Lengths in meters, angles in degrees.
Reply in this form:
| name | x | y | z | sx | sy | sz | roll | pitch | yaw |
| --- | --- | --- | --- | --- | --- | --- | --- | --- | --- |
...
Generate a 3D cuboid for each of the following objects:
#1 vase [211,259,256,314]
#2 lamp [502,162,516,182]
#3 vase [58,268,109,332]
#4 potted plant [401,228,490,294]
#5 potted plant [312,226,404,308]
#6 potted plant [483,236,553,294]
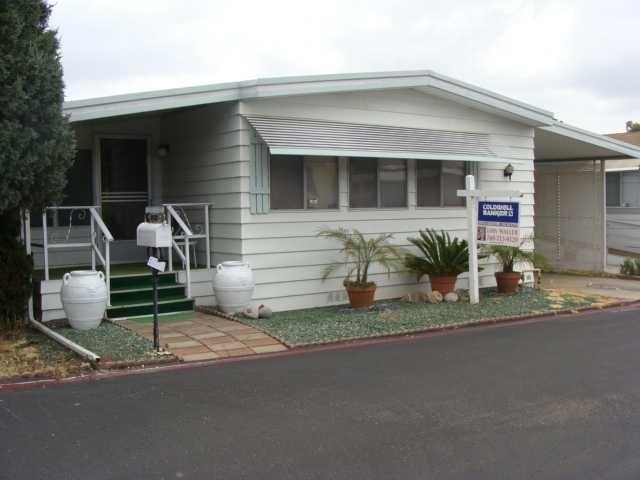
| name | x | y | z | sx | sy | sz | roll | pitch | yaw |
| --- | --- | --- | --- | --- | --- | --- | --- | --- | --- |
| vase | -1.528 | 0.786 | 8.557 | 0.857 | 0.971 | 0.838 | -1 | 6 | -16 |
| lamp | 4.490 | -1.621 | 11.230 | 0.306 | 0.408 | 0.174 | -1 | 5 | -24 |
| vase | -3.622 | 0.902 | 7.249 | 0.645 | 0.869 | 0.417 | 0 | 5 | -14 |
| potted plant | 2.591 | 0.460 | 10.162 | 1.336 | 1.173 | 1.397 | -3 | -10 | 34 |
| potted plant | 0.688 | 0.484 | 9.685 | 1.587 | 1.323 | 1.582 | -2 | -2 | 30 |
| potted plant | 4.389 | 0.573 | 10.939 | 1.332 | 1.121 | 1.279 | 3 | -3 | -22 |
